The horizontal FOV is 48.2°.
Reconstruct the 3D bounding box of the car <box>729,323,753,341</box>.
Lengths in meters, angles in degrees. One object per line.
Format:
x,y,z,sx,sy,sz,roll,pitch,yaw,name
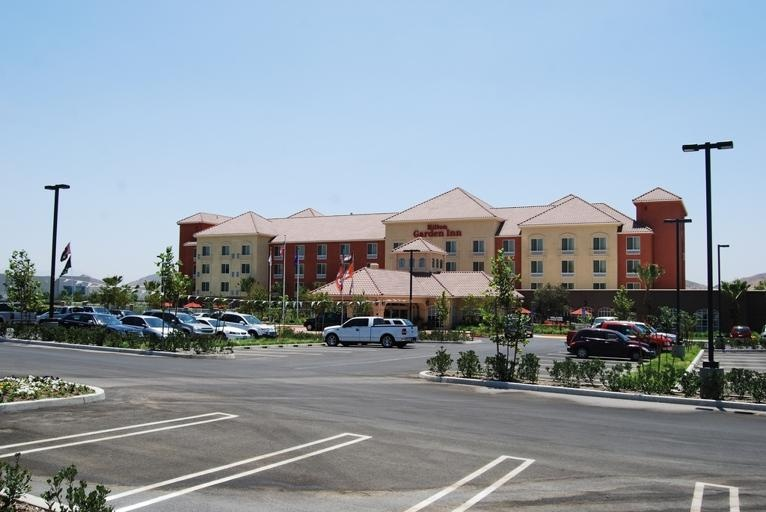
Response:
26.397,5.688,63.482,1.619,1.357,2.797,-2,-5,26,car

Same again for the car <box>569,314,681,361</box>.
12.658,4.370,45.448,5.115,1.786,2.432,-3,-4,18,car

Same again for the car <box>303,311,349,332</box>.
-4.263,4.736,62.616,2.789,1.106,1.386,0,-2,21,car

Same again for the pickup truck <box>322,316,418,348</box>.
-0.624,4.362,49.045,4.836,1.675,1.811,-1,-2,26,pickup truck
